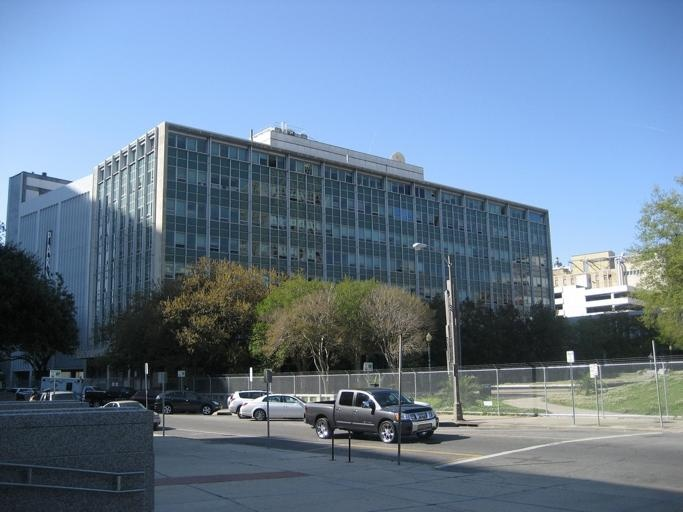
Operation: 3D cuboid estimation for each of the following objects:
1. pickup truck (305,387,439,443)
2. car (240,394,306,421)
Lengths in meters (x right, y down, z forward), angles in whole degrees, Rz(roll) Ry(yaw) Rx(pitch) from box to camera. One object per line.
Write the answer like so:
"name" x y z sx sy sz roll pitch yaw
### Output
"pickup truck" 1.133 6.197 28.572 4.791 1.752 2.351 -15 -20 40
"car" -3.984 8.839 41.788 2.209 1.436 3.563 7 -14 -33
